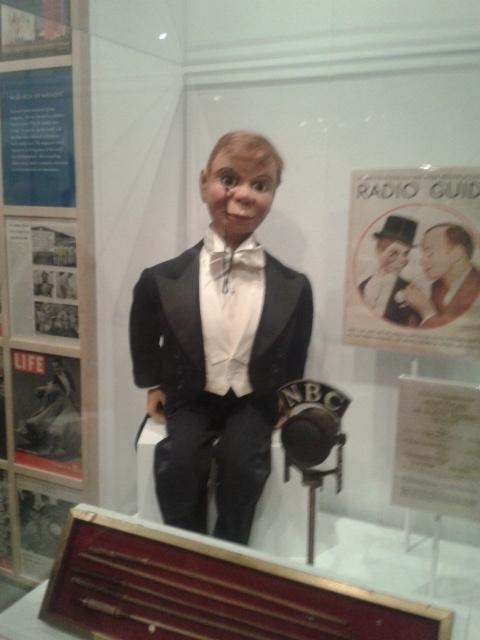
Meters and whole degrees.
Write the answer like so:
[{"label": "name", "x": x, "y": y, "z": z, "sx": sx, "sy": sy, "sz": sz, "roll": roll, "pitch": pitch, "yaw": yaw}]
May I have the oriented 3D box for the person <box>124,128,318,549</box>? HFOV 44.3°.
[{"label": "person", "x": -0.076, "y": 0.053, "z": 1.633, "sx": 0.544, "sy": 1.097, "sz": 0.139, "roll": 6, "pitch": 5, "yaw": 31}]
